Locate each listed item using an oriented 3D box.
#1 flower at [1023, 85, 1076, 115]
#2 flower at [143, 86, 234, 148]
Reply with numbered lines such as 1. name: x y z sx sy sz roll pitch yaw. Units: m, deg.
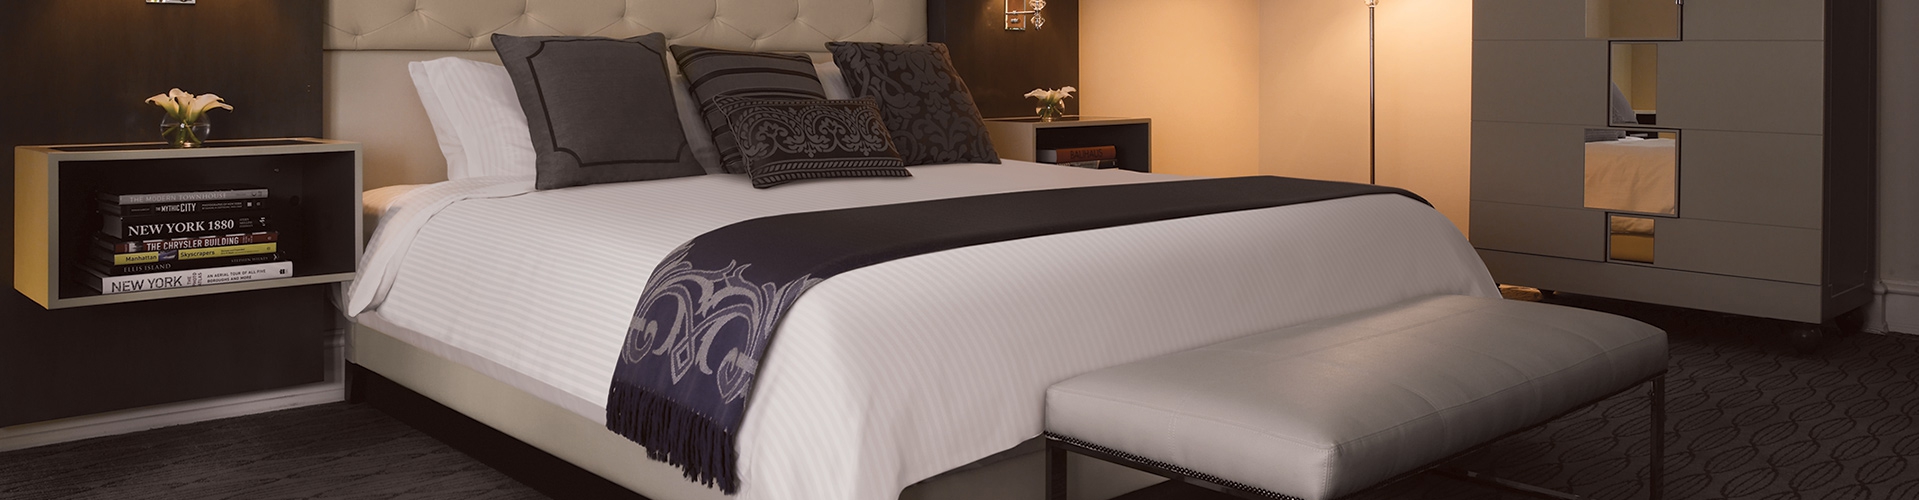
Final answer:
1. flower: 1.088 -1.791 10.515 0.672 0.167 0.520 -1 0 -18
2. flower: -7.590 -1.264 8.635 0.961 0.387 0.821 0 0 -30
